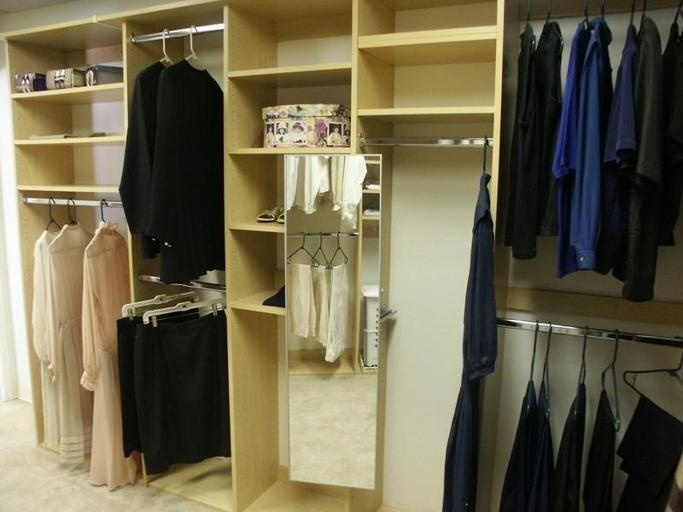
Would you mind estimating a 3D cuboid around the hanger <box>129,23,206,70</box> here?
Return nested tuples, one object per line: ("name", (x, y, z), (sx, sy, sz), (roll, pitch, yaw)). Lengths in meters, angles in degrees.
("hanger", (-0.994, -1.186, 3.544), (0.278, 0.219, 0.045), (4, 14, 17))

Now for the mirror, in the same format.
("mirror", (-0.047, 0.354, 3.221), (0.478, 1.726, 0.162), (0, 5, 3))

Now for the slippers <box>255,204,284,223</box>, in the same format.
("slippers", (-0.395, -0.241, 3.498), (0.157, 0.071, 0.083), (-1, 2, -33))

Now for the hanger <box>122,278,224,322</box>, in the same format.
("hanger", (-0.984, 0.271, 3.827), (0.289, 0.162, 0.525), (12, 16, 39))
